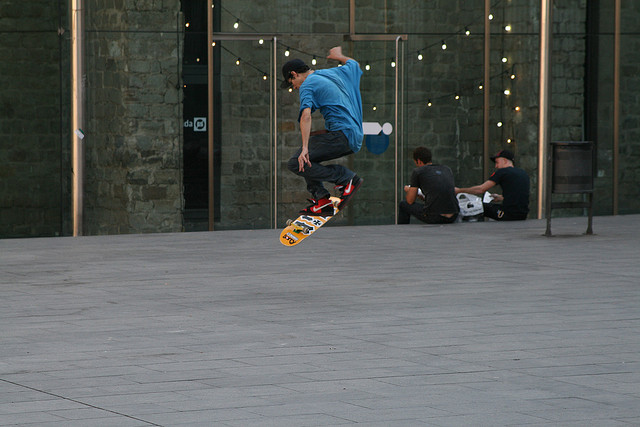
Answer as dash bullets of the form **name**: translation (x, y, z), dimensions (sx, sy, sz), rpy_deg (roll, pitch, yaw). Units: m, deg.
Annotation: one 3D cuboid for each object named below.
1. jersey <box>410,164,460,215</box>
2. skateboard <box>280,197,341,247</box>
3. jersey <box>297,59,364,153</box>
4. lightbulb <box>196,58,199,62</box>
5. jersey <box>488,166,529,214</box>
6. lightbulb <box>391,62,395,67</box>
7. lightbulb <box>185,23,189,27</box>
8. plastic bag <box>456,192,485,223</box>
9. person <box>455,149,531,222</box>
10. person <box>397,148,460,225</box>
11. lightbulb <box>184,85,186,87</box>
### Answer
- **jersey**: translation (1.746, -0.403, 18.295), dimensions (0.679, 0.750, 0.816), rpy_deg (-8, 10, -13)
- **skateboard**: translation (-0.118, 0.065, 15.160), dimensions (0.931, 0.283, 0.140), rpy_deg (-38, 17, 10)
- **jersey**: translation (0.201, -1.453, 15.012), dimensions (0.760, 1.259, 1.272), rpy_deg (1, 13, 1)
- **lightbulb**: translation (-1.895, -2.376, 17.998), dimensions (0.039, 0.033, 0.042), rpy_deg (-1, 2, -5)
- **jersey**: translation (2.993, -0.353, 18.553), dimensions (0.741, 0.609, 0.433), rpy_deg (-8, 18, -10)
- **lightbulb**: translation (1.179, -2.438, 19.068), dimensions (0.052, 0.071, 0.019), rpy_deg (0, 13, 1)
- **lightbulb**: translation (-2.051, -2.907, 17.936), dimensions (0.043, 0.037, 0.022), rpy_deg (1, -3, 9)
- **plastic bag**: translation (2.526, -0.086, 18.669), dimensions (0.487, 0.490, 0.614), rpy_deg (-3, -4, -30)
- **person**: translation (2.855, -0.466, 18.773), dimensions (0.953, 1.123, 0.970), rpy_deg (1, 12, 5)
- **person**: translation (1.660, -0.258, 18.191), dimensions (0.907, 1.027, 0.405), rpy_deg (8, 15, 32)
- **lightbulb**: translation (-2.093, -1.965, 17.946), dimensions (0.031, 0.048, 0.029), rpy_deg (2, 11, 3)
